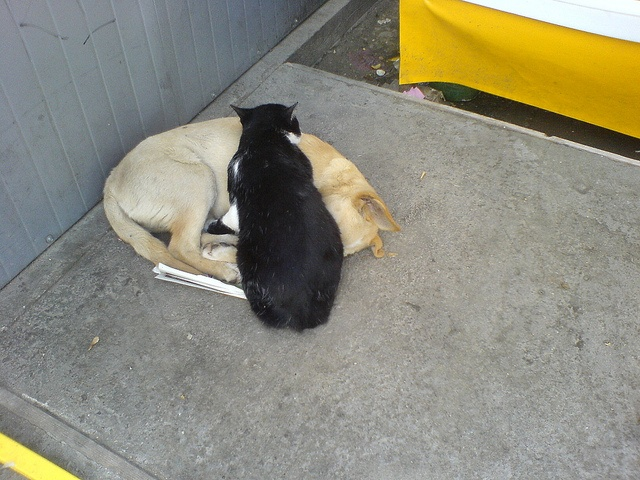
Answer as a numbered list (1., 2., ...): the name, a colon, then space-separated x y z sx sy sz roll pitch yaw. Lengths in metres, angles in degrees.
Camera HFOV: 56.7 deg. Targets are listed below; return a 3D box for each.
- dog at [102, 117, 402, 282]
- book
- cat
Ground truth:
1. dog: -0.583 -0.218 4.022 1.736 0.516 1.065 15 50 5
2. book: -0.756 0.137 4.203 1.082 0.193 0.285 15 20 5
3. cat: -0.386 -0.366 4.714 0.875 2.254 1.091 13 88 -15
